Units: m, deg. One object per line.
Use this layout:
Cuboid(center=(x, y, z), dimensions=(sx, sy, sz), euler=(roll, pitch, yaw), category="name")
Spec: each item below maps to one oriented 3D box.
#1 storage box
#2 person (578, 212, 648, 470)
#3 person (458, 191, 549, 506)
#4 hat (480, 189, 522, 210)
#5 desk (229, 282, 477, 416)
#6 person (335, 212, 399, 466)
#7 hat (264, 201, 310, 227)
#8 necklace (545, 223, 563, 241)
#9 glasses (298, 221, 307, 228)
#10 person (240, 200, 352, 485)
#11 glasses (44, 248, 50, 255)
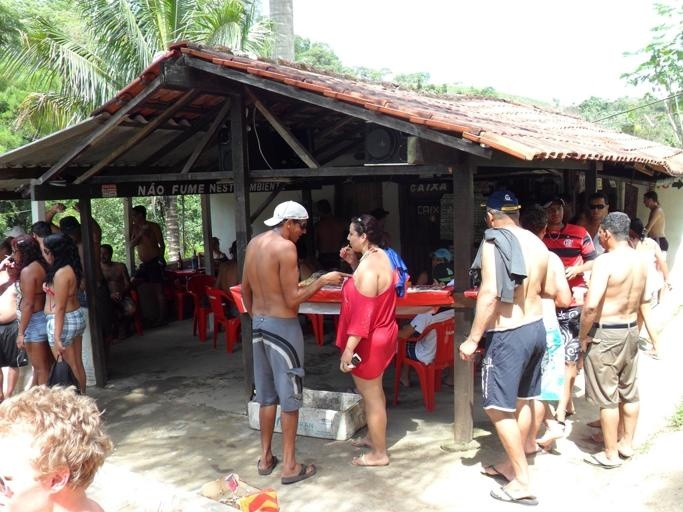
Cuboid(center=(-0.275, 1.718, 6.499), dimensions=(0.872, 0.251, 0.613), euler=(2, 3, 22), category="storage box")
Cuboid(center=(2.590, 0.737, 5.614), dimensions=(0.845, 2.297, 0.451), euler=(-10, 12, -41), category="person")
Cuboid(center=(1.431, 0.752, 5.195), dimensions=(0.624, 2.597, 0.667), euler=(2, 10, 26), category="person")
Cuboid(center=(1.419, -0.511, 5.385), dimensions=(0.192, 0.144, 0.256), euler=(2, 4, -10), category="hat")
Cuboid(center=(0.755, 0.926, 6.474), dimensions=(1.737, 1.001, 1.956), euler=(3, 6, 44), category="desk")
Cuboid(center=(0.264, 0.812, 5.672), dimensions=(0.598, 2.378, 0.546), euler=(-2, 9, 2), category="person")
Cuboid(center=(-0.501, -0.398, 5.707), dimensions=(0.372, 0.199, 0.243), euler=(1, 3, -9), category="hat")
Cuboid(center=(2.455, -0.281, 6.924), dimensions=(0.150, 0.206, 0.087), euler=(5, 0, 21), category="necklace")
Cuboid(center=(-0.387, -0.308, 5.748), dimensions=(0.089, 0.076, 0.074), euler=(4, 4, 28), category="glasses")
Cuboid(center=(-0.573, 0.771, 5.713), dimensions=(0.877, 2.554, 0.703), euler=(6, 12, 43), category="person")
Cuboid(center=(-3.310, -0.060, 6.756), dimensions=(0.057, 0.055, 0.053), euler=(-8, 28, -25), category="glasses")
